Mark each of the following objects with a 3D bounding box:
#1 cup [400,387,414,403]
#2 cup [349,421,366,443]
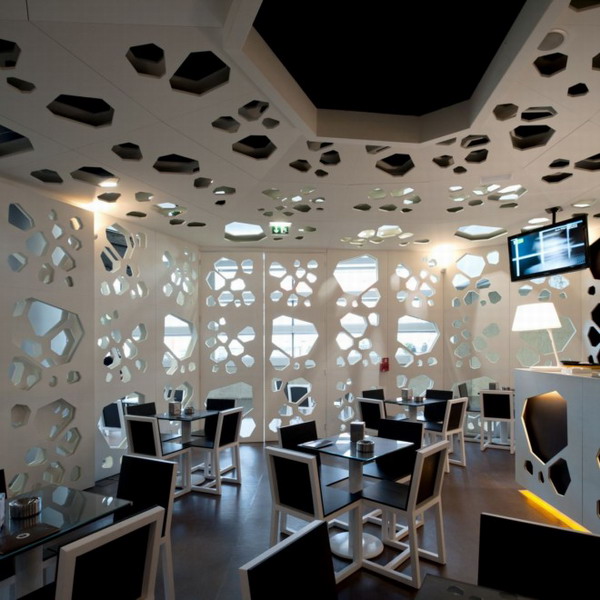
[{"bbox_3d":[1.425,1.282,6.279,0.132,0.289,0.136,1,0,0],"label":"cup"},{"bbox_3d":[0.472,1.049,3.780,0.129,0.152,0.125,0,3,0],"label":"cup"}]
